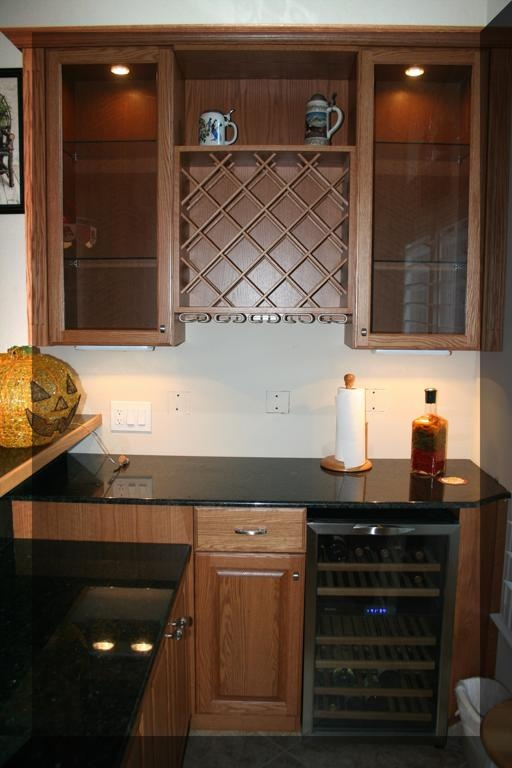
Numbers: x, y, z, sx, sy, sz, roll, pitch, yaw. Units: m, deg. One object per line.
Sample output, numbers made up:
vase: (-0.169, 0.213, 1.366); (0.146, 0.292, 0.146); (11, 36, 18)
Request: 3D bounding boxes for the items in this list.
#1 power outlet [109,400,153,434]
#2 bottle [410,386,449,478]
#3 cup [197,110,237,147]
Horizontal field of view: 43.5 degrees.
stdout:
power outlet: (-0.446, 0.112, 2.306); (0.119, 0.100, 0.017); (0, 4, 2)
bottle: (0.559, 0.195, 2.128); (0.147, 0.201, 0.099); (6, 7, 39)
cup: (-0.120, -0.814, 2.048); (0.164, 0.144, 0.096); (0, 26, -2)
